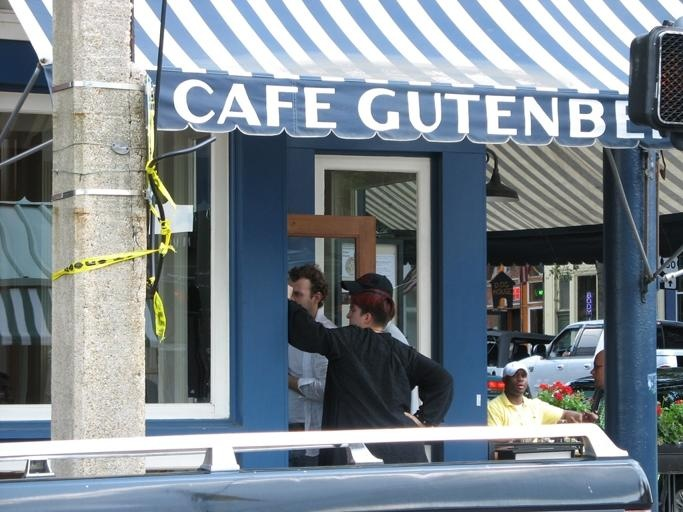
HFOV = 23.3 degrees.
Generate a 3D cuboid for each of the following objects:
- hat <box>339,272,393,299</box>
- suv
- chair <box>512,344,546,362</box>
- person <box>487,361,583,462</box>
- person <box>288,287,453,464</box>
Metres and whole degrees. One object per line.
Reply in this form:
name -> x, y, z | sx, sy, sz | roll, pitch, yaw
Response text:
hat -> 0.172, 0.193, 10.939 | 0.266, 0.106, 0.169 | 8, -4, -6
suv -> 3.213, 1.193, 20.098 | 1.288, 1.101, 2.245 | 5, -4, -42
chair -> 2.251, 1.159, 19.989 | 0.313, 0.219, 0.324 | -5, -7, 44
person -> 1.319, 1.171, 12.438 | 0.841, 0.624, 0.505 | 5, -21, -11
person -> 0.162, 0.820, 10.883 | 0.829, 1.257, 0.581 | -29, -45, 34
